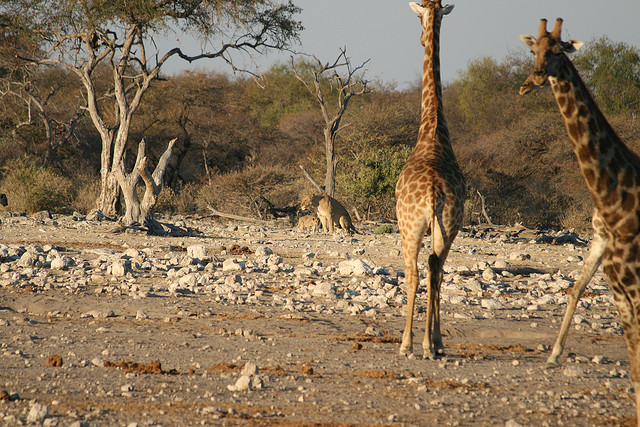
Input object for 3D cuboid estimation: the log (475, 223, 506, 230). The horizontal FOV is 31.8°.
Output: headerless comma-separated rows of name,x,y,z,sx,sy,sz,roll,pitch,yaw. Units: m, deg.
log,6.199,0.519,41.545,1.177,0.184,0.994,4,2,-9
